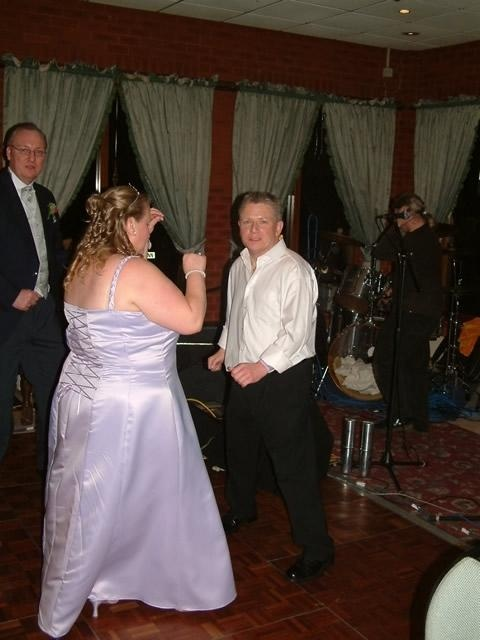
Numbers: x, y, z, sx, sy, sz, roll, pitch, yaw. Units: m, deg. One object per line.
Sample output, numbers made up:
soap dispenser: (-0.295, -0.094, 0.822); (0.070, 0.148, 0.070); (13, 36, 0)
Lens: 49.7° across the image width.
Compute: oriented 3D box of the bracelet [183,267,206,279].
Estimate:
bracelet: (-0.138, -0.147, 1.610); (0.080, 0.023, 0.077); (8, 17, 28)

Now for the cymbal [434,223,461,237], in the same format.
cymbal: (2.149, -0.943, 5.410); (0.217, 0.150, 0.219); (-1, 10, -19)

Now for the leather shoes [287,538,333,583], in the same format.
leather shoes: (0.285, 0.969, 2.111); (0.244, 0.090, 0.099); (-6, 7, -41)

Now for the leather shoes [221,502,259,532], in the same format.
leather shoes: (-0.022, 0.944, 2.497); (0.220, 0.092, 0.081); (0, -1, -42)

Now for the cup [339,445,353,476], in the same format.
cup: (0.666, 0.871, 3.245); (0.076, 0.170, 0.085); (3, 4, 10)

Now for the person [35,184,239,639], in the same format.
person: (-0.320, 0.316, 1.609); (0.530, 1.408, 0.388); (3, 4, 14)

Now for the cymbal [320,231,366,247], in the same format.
cymbal: (1.151, -0.904, 5.751); (0.485, 0.102, 0.500); (5, 4, 7)
